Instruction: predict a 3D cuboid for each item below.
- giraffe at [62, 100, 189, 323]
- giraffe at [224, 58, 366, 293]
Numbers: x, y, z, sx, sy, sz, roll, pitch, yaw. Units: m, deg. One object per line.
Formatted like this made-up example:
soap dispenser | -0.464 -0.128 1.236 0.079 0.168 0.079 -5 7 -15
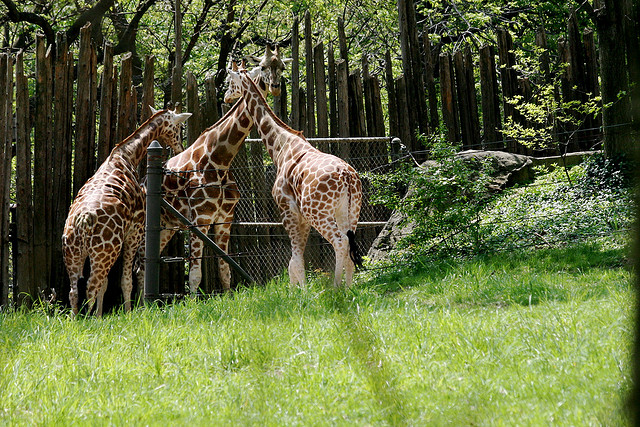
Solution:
giraffe | -2.848 -0.085 11.765 0.558 2.960 1.587 -7 -6 42
giraffe | -0.181 -0.644 11.484 1.306 3.422 2.281 0 -5 -32
